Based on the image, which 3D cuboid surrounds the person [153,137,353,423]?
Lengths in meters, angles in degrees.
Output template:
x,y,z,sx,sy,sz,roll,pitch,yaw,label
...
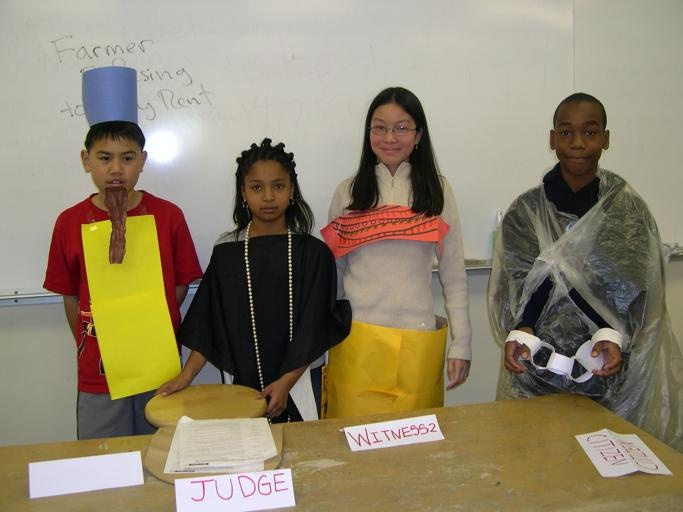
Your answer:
x,y,z,sx,sy,sz,roll,pitch,yaw,label
-0.268,0.083,1.876,0.582,0.934,0.521,-4,11,-1,person
